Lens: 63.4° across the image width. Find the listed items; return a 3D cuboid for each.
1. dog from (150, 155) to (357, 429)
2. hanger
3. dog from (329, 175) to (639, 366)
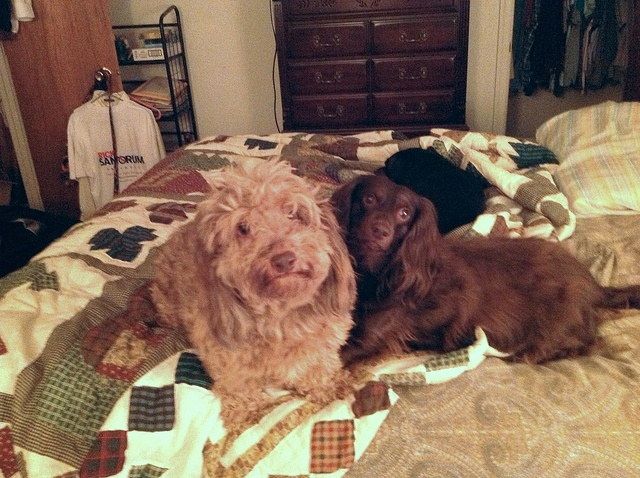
[{"bbox_3d":[-0.142,0.045,1.201,0.427,0.531,0.580,-15,27,-28],"label":"dog"},{"bbox_3d":[-1.060,-0.820,2.870,0.119,0.307,0.269,-26,6,-43],"label":"hanger"},{"bbox_3d":[0.284,0.047,1.151,0.764,0.361,0.269,1,31,-2],"label":"dog"}]
